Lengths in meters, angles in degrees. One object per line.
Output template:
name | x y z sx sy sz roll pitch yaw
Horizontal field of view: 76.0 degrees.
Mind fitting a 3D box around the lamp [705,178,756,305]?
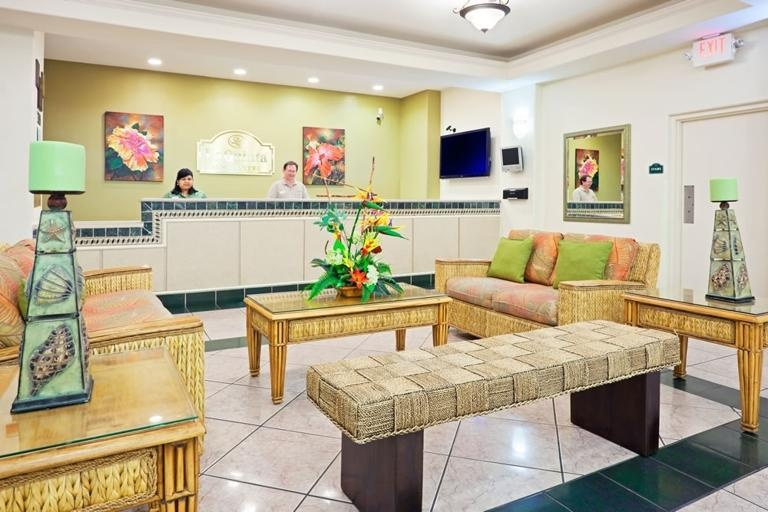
lamp | 2.511 -0.122 3.537 0.395 0.842 0.361 -10 15 -41

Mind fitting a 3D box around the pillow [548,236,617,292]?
pillow | 1.861 0.078 4.658 0.202 0.415 0.532 -3 4 -43

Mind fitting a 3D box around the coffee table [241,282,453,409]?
coffee table | -0.256 0.670 4.031 1.446 0.579 0.846 -4 -4 -21

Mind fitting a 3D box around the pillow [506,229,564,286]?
pillow | 1.588 0.009 5.047 0.209 0.516 0.521 15 -7 -41

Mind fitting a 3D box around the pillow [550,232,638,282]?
pillow | 1.995 0.067 4.636 0.706 0.487 0.494 7 13 31

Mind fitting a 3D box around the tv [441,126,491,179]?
tv | 1.296 -1.695 8.240 1.111 0.754 0.109 -13 22 -31

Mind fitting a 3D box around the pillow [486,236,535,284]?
pillow | 1.352 0.033 5.262 0.264 0.445 0.483 -10 11 -30

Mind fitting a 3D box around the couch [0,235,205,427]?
couch | -1.536 0.365 2.641 0.793 0.638 1.263 -2 10 -26

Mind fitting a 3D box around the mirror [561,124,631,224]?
mirror | 2.763 -1.053 6.394 0.257 1.218 1.019 -6 13 -28

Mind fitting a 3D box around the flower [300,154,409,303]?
flower | -0.252 -0.237 3.987 0.670 1.062 0.837 1 14 -3
